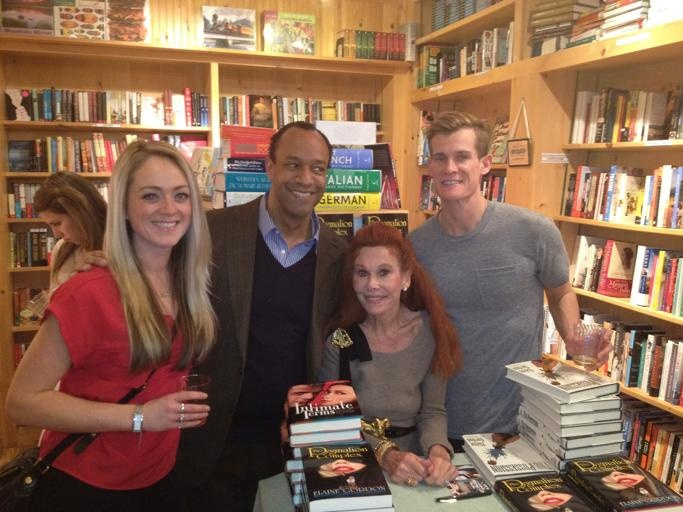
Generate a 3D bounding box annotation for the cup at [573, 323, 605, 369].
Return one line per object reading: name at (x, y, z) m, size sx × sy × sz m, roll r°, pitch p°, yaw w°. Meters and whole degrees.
cup at (1.019, 0.365, 2.190) m, size 0.101 × 0.169 × 0.086 m, roll 2°, pitch 15°, yaw 19°

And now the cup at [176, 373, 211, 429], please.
cup at (-0.551, 0.528, 1.976) m, size 0.127 × 0.178 × 0.173 m, roll -6°, pitch 14°, yaw -16°
